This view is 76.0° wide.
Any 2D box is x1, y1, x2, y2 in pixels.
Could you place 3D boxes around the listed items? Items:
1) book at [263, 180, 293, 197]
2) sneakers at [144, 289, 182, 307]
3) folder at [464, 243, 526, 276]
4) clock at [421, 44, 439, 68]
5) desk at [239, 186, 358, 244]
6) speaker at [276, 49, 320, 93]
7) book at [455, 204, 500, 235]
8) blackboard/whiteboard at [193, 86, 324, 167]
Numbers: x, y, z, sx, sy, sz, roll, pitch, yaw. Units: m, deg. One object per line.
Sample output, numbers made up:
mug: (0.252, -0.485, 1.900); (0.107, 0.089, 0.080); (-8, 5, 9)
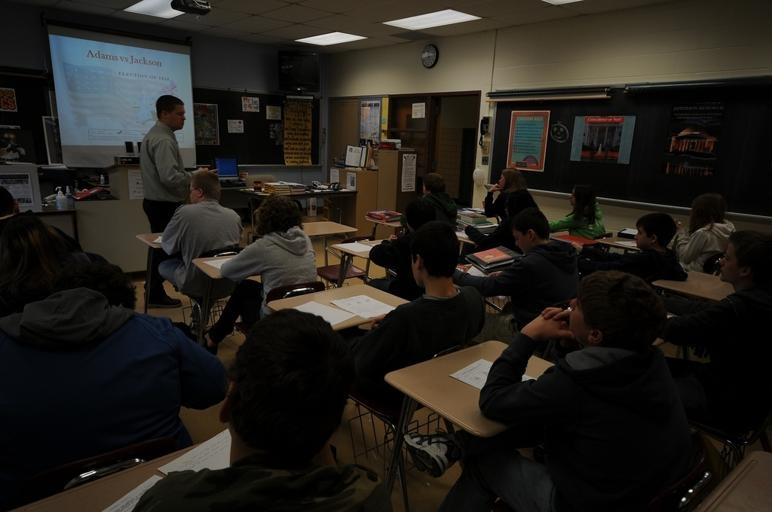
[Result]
book: (-1.696, -1.068, 7.728); (0.435, 0.132, 0.322); (-4, 17, -13)
sneakers: (-2.289, 0.446, 5.145); (0.412, 0.245, 0.155); (-3, 9, -26)
folder: (0.846, 0.020, 3.808); (0.251, 0.059, 0.250); (-17, 24, -28)
clock: (0.727, -3.216, 7.914); (0.085, 0.406, 0.423); (-2, 5, -36)
desk: (-1.048, -0.790, 8.145); (1.378, 0.828, 1.341); (-5, 10, -30)
speaker: (-1.617, -3.409, 9.104); (0.767, 0.804, 0.606); (-1, 17, -4)
book: (1.090, -0.421, 5.780); (0.503, 0.164, 0.392); (-10, 18, -35)
blackboard/whiteboard: (-2.433, -2.409, 9.075); (1.899, 1.002, 0.030); (-7, 15, -38)
